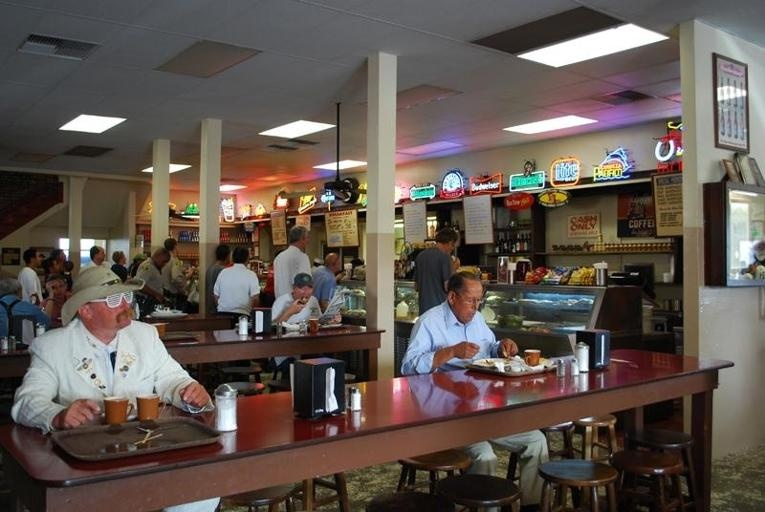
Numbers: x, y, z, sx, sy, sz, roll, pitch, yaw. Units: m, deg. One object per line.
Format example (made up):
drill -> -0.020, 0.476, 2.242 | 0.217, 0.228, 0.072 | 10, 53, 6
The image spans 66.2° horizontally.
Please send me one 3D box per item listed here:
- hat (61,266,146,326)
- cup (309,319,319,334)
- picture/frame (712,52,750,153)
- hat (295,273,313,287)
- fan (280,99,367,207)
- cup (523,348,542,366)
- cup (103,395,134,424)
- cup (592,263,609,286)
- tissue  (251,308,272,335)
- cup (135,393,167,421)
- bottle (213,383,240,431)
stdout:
hat -> -1.778, 0.203, 3.663 | 0.435, 0.193, 0.358 | -28, -1, 8
cup -> -0.736, 0.749, 6.150 | 0.132, 0.149, 0.134 | 1, -4, 0
picture/frame -> 3.624, -1.586, 6.117 | 0.660, 0.978, 0.216 | -4, 12, -32
hat -> -0.878, 0.273, 6.395 | 0.133, 0.098, 0.176 | 2, -3, -26
fan -> -0.804, -1.663, 9.268 | 1.606, 1.451, 1.640 | 7, 11, 38
cup -> 1.156, 0.784, 4.511 | 0.116, 0.114, 0.167 | -2, -1, -8
cup -> -1.429, 0.836, 3.158 | 0.149, 0.111, 0.114 | 9, -15, -28
cup -> 2.481, 0.208, 6.686 | 0.144, 0.235, 0.426 | 6, 11, 18
tissue  -> -1.243, 0.675, 6.019 | 0.239, 0.305, 0.230 | 1, -1, -19
cup -> -1.276, 0.854, 3.265 | 0.150, 0.117, 0.118 | 8, -13, -36
bottle -> -0.860, 0.828, 3.232 | 0.124, 0.250, 0.229 | 0, 10, -15
